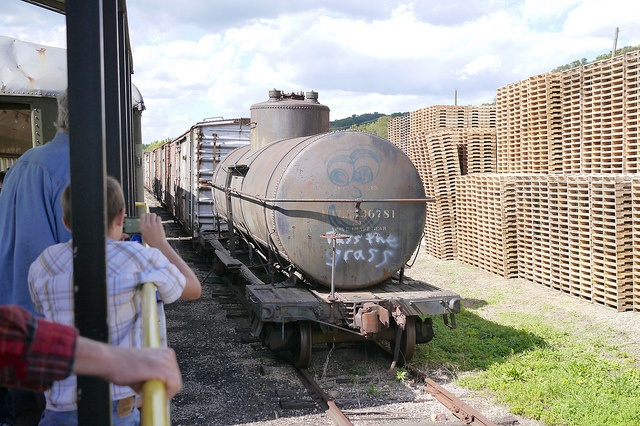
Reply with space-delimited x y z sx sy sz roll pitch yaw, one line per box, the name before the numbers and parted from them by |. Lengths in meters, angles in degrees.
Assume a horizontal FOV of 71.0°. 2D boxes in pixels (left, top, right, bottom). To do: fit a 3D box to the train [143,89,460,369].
train | -0.375 0.509 11.893 3.031 4.229 11.670 0 0 -11
